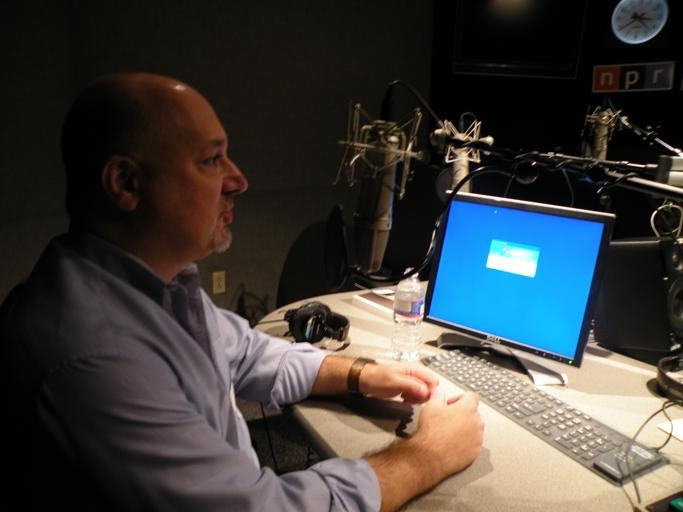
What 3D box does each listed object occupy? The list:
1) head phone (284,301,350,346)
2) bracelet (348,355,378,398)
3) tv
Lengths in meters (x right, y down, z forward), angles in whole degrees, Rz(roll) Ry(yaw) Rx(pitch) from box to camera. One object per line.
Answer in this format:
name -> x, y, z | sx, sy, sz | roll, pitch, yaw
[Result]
head phone -> -0.090, 0.249, 1.991 | 0.185, 0.079, 0.149 | 15, 9, -18
bracelet -> 0.064, 0.381, 1.689 | 0.031, 0.082, 0.083 | 8, 20, 11
tv -> 0.602, 0.130, 1.833 | 0.494, 0.458, 0.195 | 20, 22, 37
